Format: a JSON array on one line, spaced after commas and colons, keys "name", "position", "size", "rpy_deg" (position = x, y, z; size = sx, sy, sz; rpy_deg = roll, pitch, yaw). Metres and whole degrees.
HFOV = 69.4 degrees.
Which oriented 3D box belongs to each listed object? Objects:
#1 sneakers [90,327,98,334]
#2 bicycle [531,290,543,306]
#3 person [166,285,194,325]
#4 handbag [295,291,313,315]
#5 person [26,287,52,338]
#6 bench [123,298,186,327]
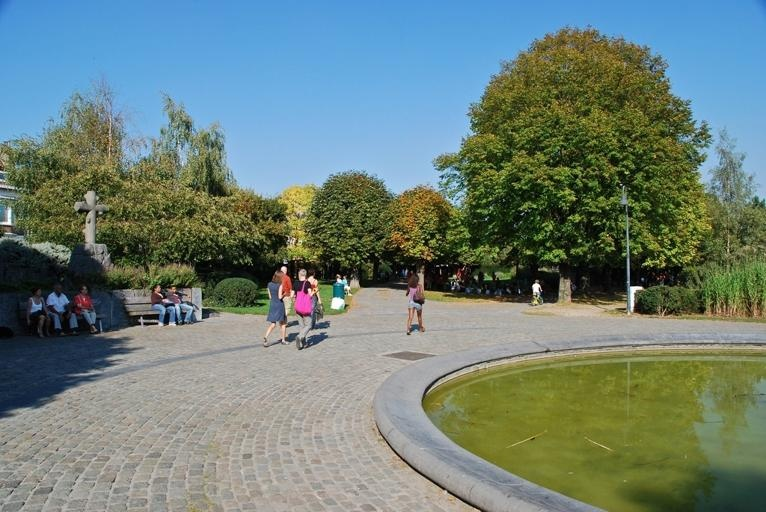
[{"name": "sneakers", "position": [-9.046, 2.325, 17.323], "size": [0.284, 0.257, 0.134], "rpy_deg": [-14, -12, 40]}, {"name": "bicycle", "position": [8.862, 2.499, 32.508], "size": [0.815, 0.919, 1.578], "rpy_deg": [-3, -5, 31]}, {"name": "person", "position": [-7.133, 1.686, 19.479], "size": [0.882, 1.432, 0.608], "rpy_deg": [-8, -2, -23]}, {"name": "handbag", "position": [-2.155, 1.259, 14.927], "size": [0.673, 0.673, 0.368], "rpy_deg": [-1, -12, -2]}, {"name": "person", "position": [-10.158, 1.656, 16.289], "size": [0.537, 1.404, 0.370], "rpy_deg": [-2, -3, 16]}, {"name": "bench", "position": [-7.969, 1.905, 19.108], "size": [1.805, 0.924, 0.845], "rpy_deg": [0, -3, -20]}]
